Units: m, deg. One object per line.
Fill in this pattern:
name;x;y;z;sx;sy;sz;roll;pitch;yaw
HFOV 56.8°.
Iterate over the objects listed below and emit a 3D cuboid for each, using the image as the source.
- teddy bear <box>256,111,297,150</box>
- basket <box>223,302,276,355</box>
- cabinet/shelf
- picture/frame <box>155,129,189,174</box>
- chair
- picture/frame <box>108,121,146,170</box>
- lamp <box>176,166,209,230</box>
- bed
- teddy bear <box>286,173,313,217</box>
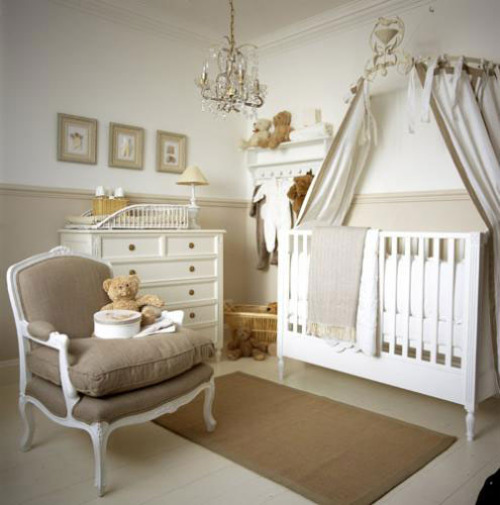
teddy bear;0.220;-1.089;4.161;0.470;0.304;0.230;4;6;39
basket;-0.014;0.648;3.998;0.449;0.443;0.559;0;4;-4
cabinet/shelf;-0.687;0.210;2.809;0.332;0.949;0.868;-3;-3;43
picture/frame;-0.698;-0.871;3.970;0.046;0.478;0.391;0;0;40
chair;-0.717;0.465;2.331;0.813;0.964;0.738;3;6;37
picture/frame;-1.006;-0.854;3.667;0.032;0.504;0.375;1;0;44
lamp;-0.506;-0.490;3.925;0.264;0.560;0.673;-1;5;-8
bed;0.897;0.386;2.917;1.395;1.195;0.939;-1;-1;44
teddy bear;0.400;-0.481;3.841;0.091;0.344;0.311;-5;8;-34
